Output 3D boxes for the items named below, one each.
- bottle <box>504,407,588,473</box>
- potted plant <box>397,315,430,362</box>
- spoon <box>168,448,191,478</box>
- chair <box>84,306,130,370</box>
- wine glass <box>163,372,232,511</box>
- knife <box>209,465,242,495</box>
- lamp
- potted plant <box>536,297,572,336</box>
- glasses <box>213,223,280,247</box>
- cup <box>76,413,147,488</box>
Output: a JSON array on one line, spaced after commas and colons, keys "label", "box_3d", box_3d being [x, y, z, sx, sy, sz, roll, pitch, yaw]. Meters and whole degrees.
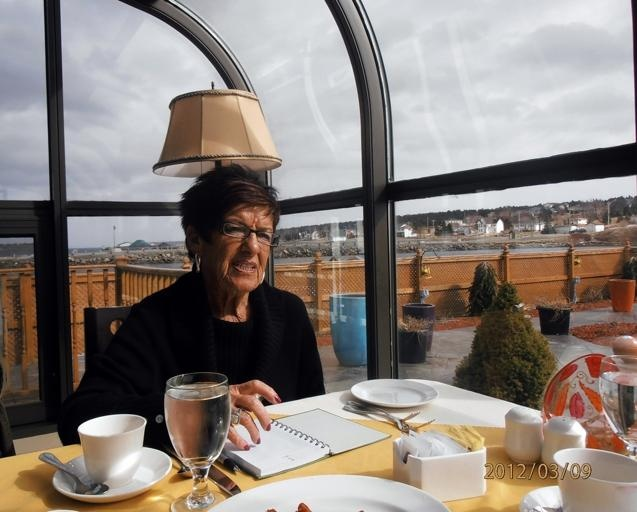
[{"label": "bottle", "box_3d": [0.447, 0.363, 0.933, 0.153, 0.125, 0.102, 1, -7, 4]}, {"label": "potted plant", "box_3d": [0.542, 0.486, 2.792, 0.251, 0.334, 0.220, 0, -3, -1]}, {"label": "spoon", "box_3d": [-0.286, 0.433, 0.980, 0.021, 0.017, 0.111, -3, -2, -25]}, {"label": "chair", "box_3d": [-0.851, 0.316, 1.868, 0.124, 0.220, 0.230, -1, -4, 15]}, {"label": "wine glass", "box_3d": [-0.225, 0.339, 0.887, 0.113, 0.223, 0.194, -3, 2, -17]}, {"label": "knife", "box_3d": [-0.179, 0.435, 0.904, 0.023, 0.007, 0.161, 0, -2, -30]}, {"label": "lamp", "box_3d": [-0.456, -0.494, 2.125, 0.524, 0.501, 0.543, -3, 7, 10]}, {"label": "potted plant", "box_3d": [1.058, 0.278, 2.114, 0.133, 0.118, 0.127, -6, 0, 0]}, {"label": "glasses", "box_3d": [-0.214, -0.073, 1.548, 0.204, 0.085, 0.055, -4, 3, -37]}, {"label": "cup", "box_3d": [-0.406, 0.390, 0.923, 0.120, 0.114, 0.137, 2, -3, -24]}]
